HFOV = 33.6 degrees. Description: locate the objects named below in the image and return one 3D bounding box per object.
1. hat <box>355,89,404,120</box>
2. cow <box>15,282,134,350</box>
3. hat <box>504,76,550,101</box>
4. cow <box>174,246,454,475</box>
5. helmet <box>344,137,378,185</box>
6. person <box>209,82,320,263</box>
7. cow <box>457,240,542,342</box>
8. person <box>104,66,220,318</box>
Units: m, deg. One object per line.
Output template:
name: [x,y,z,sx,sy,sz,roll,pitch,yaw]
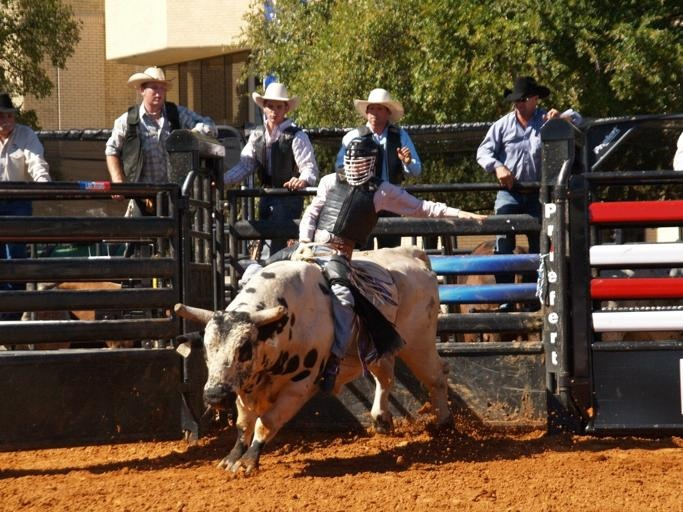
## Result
hat: [0.454,-1.874,13.563,0.644,0.289,0.678,2,-7,-27]
cow: [-3.371,0.596,14.345,1.342,1.129,0.394,1,-6,-7]
hat: [2.243,-2.009,13.552,0.370,0.217,0.461,-5,-1,37]
cow: [-0.202,1.028,10.996,2.840,1.942,0.779,-12,18,-37]
helmet: [0.187,-1.025,11.672,0.355,0.526,0.506,6,22,15]
person: [-0.832,-0.716,13.236,1.198,2.606,1.035,1,2,10]
cow: [1.785,0.391,14.831,0.557,1.170,2.010,8,-3,-12]
person: [-2.084,-0.927,13.229,1.276,2.540,0.824,-1,23,-9]
